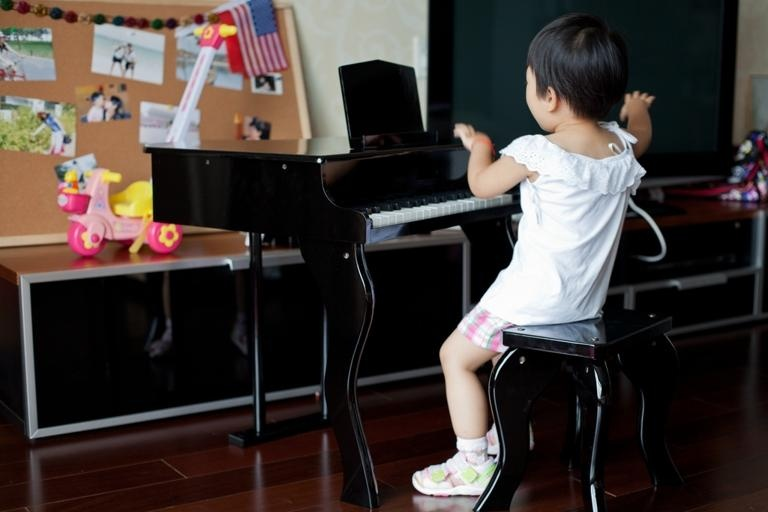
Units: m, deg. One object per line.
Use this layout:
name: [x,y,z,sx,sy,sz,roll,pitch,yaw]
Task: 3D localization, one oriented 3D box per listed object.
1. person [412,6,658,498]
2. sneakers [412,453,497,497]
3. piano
person: [0.437,0.039,1.920,0.658,1.469,0.240,0,14,2]
sneakers: [0.219,0.681,2.060,0.288,0.144,0.123,3,8,9]
piano: [0.002,0.023,2.881,1.390,1.963,1.551,6,9,38]
